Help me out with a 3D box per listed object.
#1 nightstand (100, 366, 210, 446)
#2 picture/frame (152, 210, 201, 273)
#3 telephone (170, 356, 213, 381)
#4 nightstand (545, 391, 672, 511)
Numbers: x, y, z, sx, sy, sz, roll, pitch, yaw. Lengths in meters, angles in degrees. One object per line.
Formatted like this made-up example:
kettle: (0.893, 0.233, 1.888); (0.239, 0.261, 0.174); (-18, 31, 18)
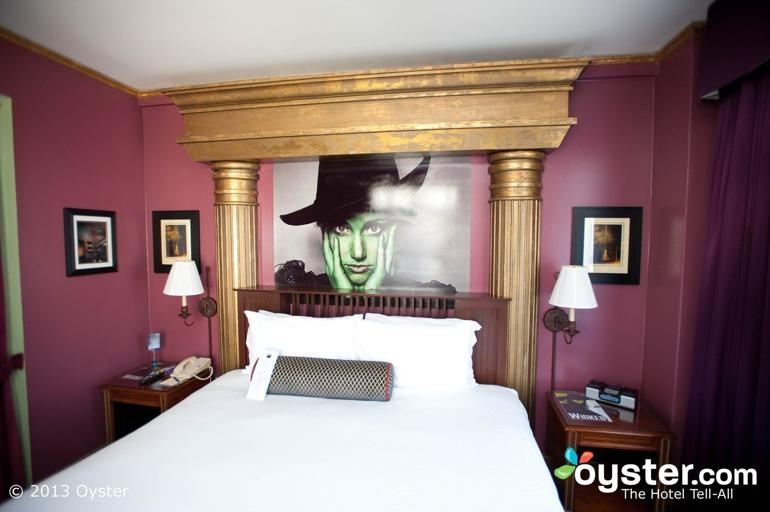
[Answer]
nightstand: (-2.293, 1.325, 5.496); (0.742, 0.784, 0.845); (3, 8, 13)
picture/frame: (-2.160, -0.172, 5.604); (0.652, 0.858, 0.033); (0, 3, 5)
telephone: (-1.943, 1.120, 5.402); (0.190, 0.110, 0.297); (3, 7, 8)
nightstand: (2.049, 1.768, 5.056); (0.926, 0.900, 0.943); (-1, 2, 11)
